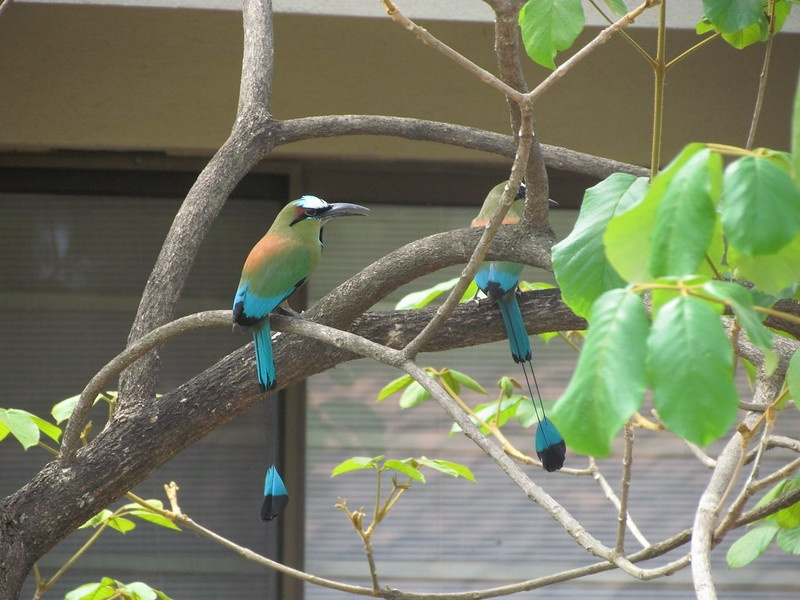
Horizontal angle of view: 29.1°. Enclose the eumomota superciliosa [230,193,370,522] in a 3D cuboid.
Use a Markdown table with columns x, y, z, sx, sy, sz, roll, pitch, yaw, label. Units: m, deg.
| x | y | z | sx | sy | sz | roll | pitch | yaw | label |
| --- | --- | --- | --- | --- | --- | --- | --- | --- | --- |
| -0.470 | 0.240 | 6.934 | 0.593 | 1.498 | 0.433 | 2 | -17 | -10 | eumomota superciliosa |
